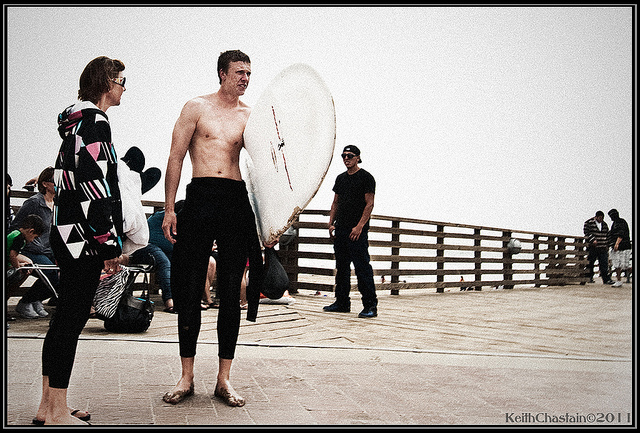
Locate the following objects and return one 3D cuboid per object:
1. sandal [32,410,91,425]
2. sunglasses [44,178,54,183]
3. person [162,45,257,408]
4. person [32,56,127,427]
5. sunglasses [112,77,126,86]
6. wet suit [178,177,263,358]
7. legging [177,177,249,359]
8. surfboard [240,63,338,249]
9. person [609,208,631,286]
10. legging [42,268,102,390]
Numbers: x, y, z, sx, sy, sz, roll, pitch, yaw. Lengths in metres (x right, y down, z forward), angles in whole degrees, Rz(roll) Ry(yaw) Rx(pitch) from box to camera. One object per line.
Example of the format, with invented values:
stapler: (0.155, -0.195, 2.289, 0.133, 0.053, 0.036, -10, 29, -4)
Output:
sandal: (-1.607, 1.273, 3.486, 0.312, 0.087, 0.116, -2, -10, 6)
sunglasses: (-2.572, -0.343, 5.356, 0.138, 0.030, 0.056, 7, 7, 42)
person: (-0.745, 0.026, 3.894, 0.650, 2.436, 0.618, 1, 5, -16)
person: (-1.475, 0.144, 3.452, 0.521, 2.283, 0.384, 0, 5, -22)
sunglasses: (-1.262, -0.864, 3.543, 0.019, 0.056, 0.087, 6, 6, 35)
wet suit: (-0.720, 0.446, 4.079, 0.663, 1.485, 0.389, 5, 7, 0)
legging: (-0.754, 0.434, 4.076, 0.530, 1.508, 0.396, 3, 10, -10)
surfboard: (-0.210, -0.433, 3.910, 0.707, 1.296, 0.276, 7, 7, 43)
person: (6.407, 0.602, 11.930, 0.455, 1.538, 0.418, 5, 6, 28)
legging: (-1.526, 0.679, 3.446, 0.331, 0.734, 0.172, 1, 5, -15)
